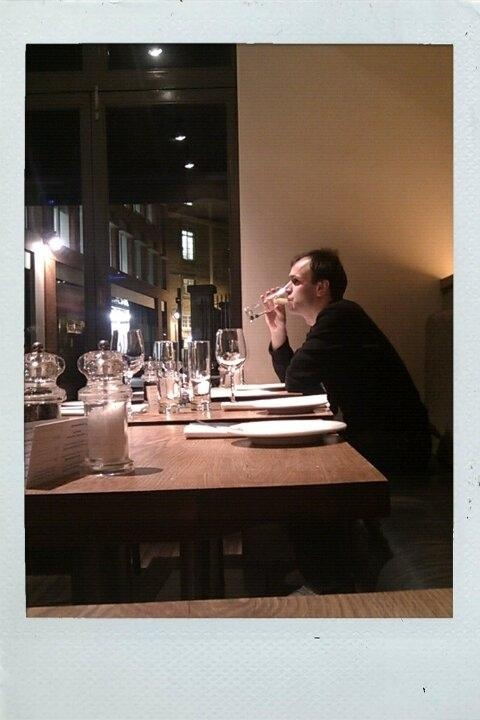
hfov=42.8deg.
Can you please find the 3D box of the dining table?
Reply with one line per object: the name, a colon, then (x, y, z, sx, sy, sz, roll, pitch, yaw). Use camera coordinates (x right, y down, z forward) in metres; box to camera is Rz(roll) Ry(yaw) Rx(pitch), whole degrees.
dining table: (-0.043, 0.203, 0.852, 0.475, 0.260, 0.367, -1, 4, 0)
